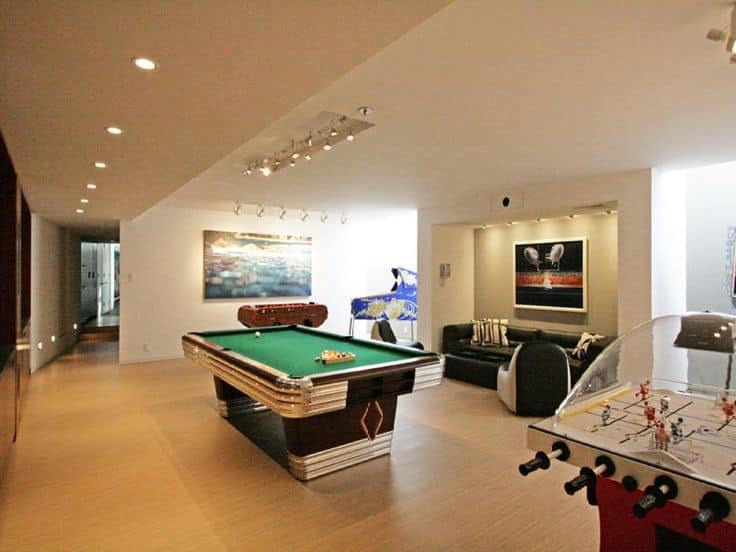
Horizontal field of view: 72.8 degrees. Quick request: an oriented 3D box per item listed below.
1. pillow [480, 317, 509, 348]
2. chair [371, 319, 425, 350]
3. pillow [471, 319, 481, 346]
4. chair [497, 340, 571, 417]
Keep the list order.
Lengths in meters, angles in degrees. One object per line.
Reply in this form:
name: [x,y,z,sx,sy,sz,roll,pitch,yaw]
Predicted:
pillow: [1.954,0.877,7.700,0.402,0.383,0.118,-1,-6,5]
chair: [0.369,0.865,7.384,0.571,0.491,0.562,0,-3,-3]
pillow: [1.701,0.900,7.871,0.081,0.271,0.270,3,-3,-1]
chair: [1.966,1.170,5.930,0.793,0.827,0.860,-2,3,4]
